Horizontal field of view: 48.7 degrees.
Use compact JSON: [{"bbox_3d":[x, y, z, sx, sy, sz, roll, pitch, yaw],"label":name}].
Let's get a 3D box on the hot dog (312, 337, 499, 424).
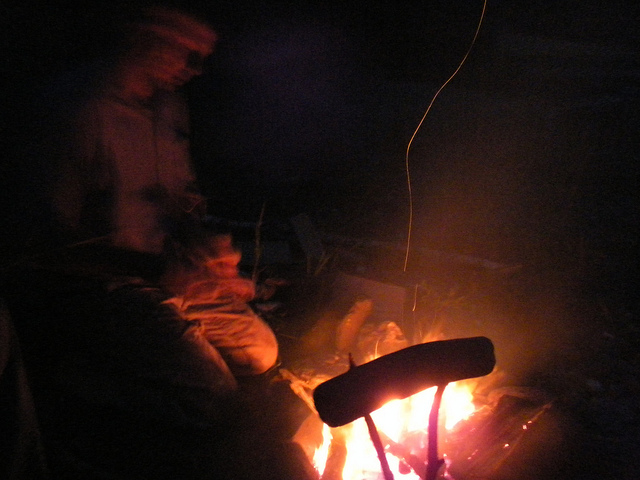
[{"bbox_3d":[0.625,1.001,5.102,1.355,0.372,0.318,-13,-50,3],"label":"hot dog"}]
